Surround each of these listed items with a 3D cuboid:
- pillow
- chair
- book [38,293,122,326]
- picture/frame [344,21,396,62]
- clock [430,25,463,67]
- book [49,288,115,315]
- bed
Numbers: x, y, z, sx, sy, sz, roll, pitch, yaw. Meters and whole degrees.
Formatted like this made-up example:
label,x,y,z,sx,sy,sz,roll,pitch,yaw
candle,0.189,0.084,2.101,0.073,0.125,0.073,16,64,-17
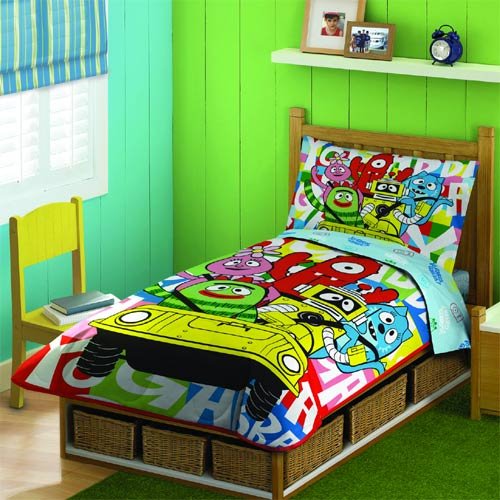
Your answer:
label,x,y,z,sx,sy,sz,roll,pitch,yaw
pillow,0.677,-0.204,2.628,0.788,0.491,0.085,15,-6,29
chair,-0.905,0.151,2.369,0.308,0.720,0.519,-1,13,-6
book,-0.705,0.231,2.304,0.200,0.039,0.194,-18,26,-41
picture/frame,0.606,-1.038,2.725,0.285,0.162,0.010,9,5,29
clock,0.931,-0.965,2.575,0.152,0.211,0.220,4,13,15
book,-0.701,0.219,2.307,0.143,0.026,0.136,-10,16,-39
bed,0.341,0.035,2.345,1.261,1.210,2.011,9,19,32
